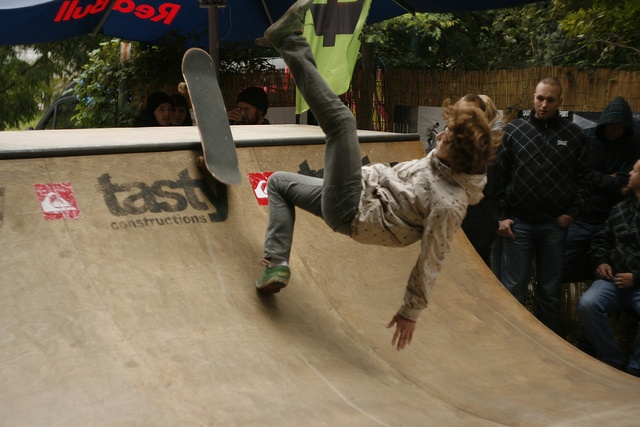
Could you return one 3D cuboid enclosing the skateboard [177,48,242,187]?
[{"bbox_3d":[-1.078,-0.951,5.318,0.233,1.674,0.464,-25,-16,41],"label":"skateboard"}]

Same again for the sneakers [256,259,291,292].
[{"bbox_3d":[-0.407,0.573,4.737,0.172,0.193,0.396,31,-34,-13],"label":"sneakers"}]
